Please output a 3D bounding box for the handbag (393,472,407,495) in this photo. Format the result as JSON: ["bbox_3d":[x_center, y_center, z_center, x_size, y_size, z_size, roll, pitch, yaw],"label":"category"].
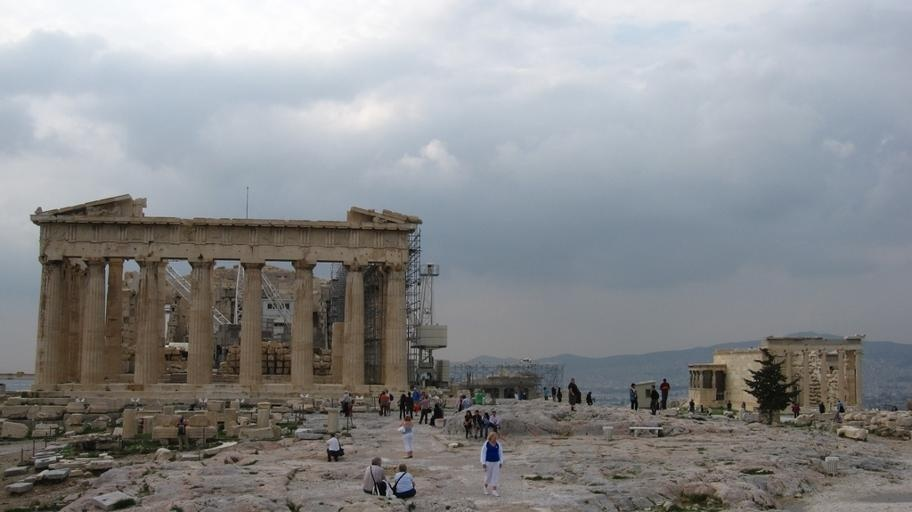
[{"bbox_3d":[-3.474,13.860,66.501,0.900,1.119,1.269,2,-18,-2],"label":"handbag"}]

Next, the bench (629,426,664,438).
[{"bbox_3d":[13.727,12.671,78.804,2.335,0.684,0.630,-3,-10,9],"label":"bench"}]

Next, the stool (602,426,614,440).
[{"bbox_3d":[10.923,12.860,79.189,0.965,0.758,0.642,2,-1,11],"label":"stool"}]

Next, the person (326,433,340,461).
[{"bbox_3d":[-8.096,12.775,72.139,0.920,1.506,0.626,1,-10,-13],"label":"person"}]
